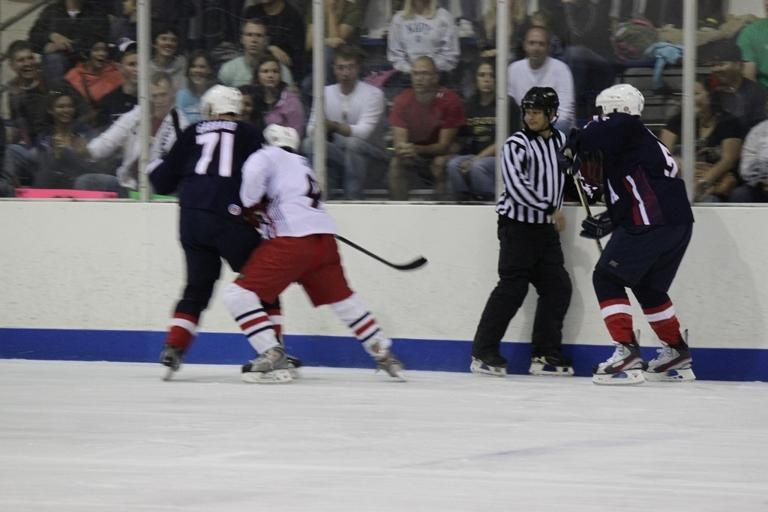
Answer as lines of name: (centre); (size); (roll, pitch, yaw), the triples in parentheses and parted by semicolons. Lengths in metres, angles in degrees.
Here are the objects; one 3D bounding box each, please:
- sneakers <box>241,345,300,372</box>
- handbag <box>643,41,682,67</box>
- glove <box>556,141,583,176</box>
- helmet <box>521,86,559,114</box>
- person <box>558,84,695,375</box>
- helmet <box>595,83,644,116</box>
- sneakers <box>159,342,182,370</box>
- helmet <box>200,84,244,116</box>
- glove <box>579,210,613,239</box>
sneakers: (-0.741, 0.690, 6.557); (0.494, 0.169, 0.148); (1, -8, -11)
handbag: (1.798, -1.317, 6.509); (0.203, 0.131, 0.075); (7, -1, 4)
glove: (1.126, -0.578, 6.113); (0.081, 0.126, 0.184); (-8, 39, -34)
helmet: (0.966, -0.980, 6.277); (0.171, 0.147, 0.204); (8, 13, 16)
person: (1.512, -0.039, 6.198); (0.843, 1.671, 0.313); (3, 6, 13)
helmet: (1.483, -0.976, 6.335); (0.291, 0.209, 0.203); (9, 1, 23)
sneakers: (-1.295, 0.617, 6.142); (0.135, 0.140, 0.154); (-8, 6, 10)
helmet: (-1.018, -0.982, 6.389); (0.268, 0.173, 0.181); (4, 14, 18)
glove: (1.325, -0.184, 6.306); (0.209, 0.132, 0.163); (0, 3, 44)
